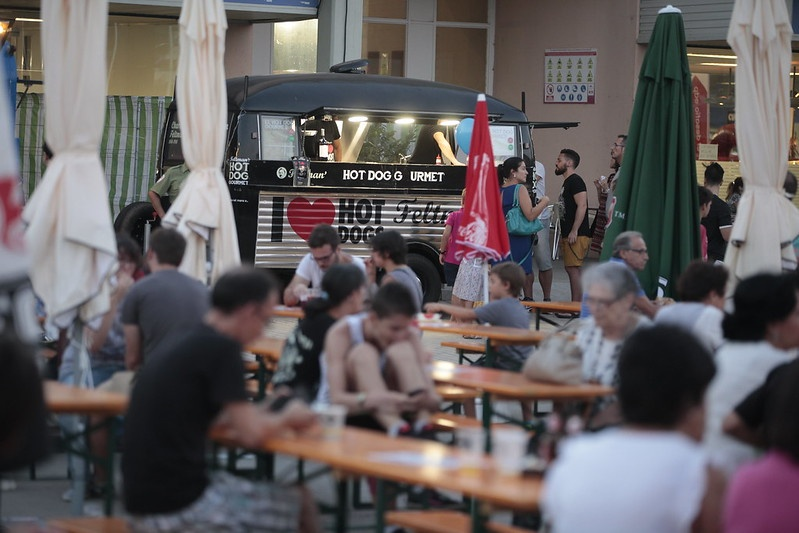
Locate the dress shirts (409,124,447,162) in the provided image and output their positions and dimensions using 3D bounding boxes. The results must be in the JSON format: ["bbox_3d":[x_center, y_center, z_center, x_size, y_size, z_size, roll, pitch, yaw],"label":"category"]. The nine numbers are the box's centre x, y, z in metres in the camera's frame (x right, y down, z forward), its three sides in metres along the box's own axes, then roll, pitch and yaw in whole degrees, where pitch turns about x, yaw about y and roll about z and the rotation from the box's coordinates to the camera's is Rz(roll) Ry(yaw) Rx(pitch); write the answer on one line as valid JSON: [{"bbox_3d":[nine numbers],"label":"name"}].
[{"bbox_3d":[0.469,-2.134,13.864,0.329,0.586,0.323,15,34,-22],"label":"dress shirts"}]

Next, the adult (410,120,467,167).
[{"bbox_3d":[0.647,-2.077,13.559,0.171,0.621,0.594,-11,37,-33],"label":"adult"}]

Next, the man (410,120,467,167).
[{"bbox_3d":[0.647,-2.077,13.559,0.171,0.621,0.594,-11,37,-33],"label":"man"}]

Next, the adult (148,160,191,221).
[{"bbox_3d":[-3.314,-1.163,12.295,0.303,0.854,0.919,23,18,37],"label":"adult"}]

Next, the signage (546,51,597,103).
[{"bbox_3d":[4.092,-4.450,19.185,1.194,1.352,0.134,-1,-3,19],"label":"signage"}]

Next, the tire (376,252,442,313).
[{"bbox_3d":[0.102,0.129,8.562,0.726,0.781,0.262,10,-6,-42],"label":"tire"}]

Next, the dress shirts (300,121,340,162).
[{"bbox_3d":[-1.298,-1.982,12.811,0.203,0.198,0.732,9,16,-42],"label":"dress shirts"}]
